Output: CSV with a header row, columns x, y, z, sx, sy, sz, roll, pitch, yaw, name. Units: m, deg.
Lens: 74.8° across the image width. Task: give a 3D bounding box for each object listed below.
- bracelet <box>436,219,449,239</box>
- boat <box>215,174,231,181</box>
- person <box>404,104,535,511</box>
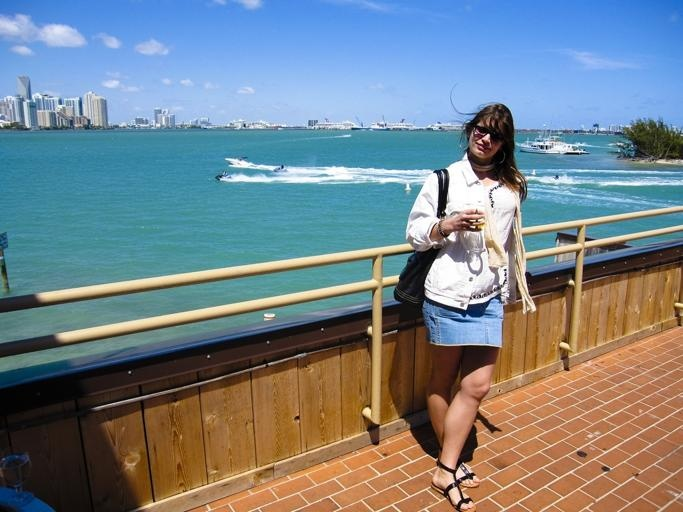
x,y,z,sx,sy,sz,roll,pitch,yaw,name
0.546,-0.149,2.402,0.032,0.080,0.072,-11,13,18,bracelet
-13.568,-9.132,51.693,1.433,1.013,2.547,1,18,-12,boat
0.734,0.281,2.681,0.542,2.274,0.772,12,20,41,person
